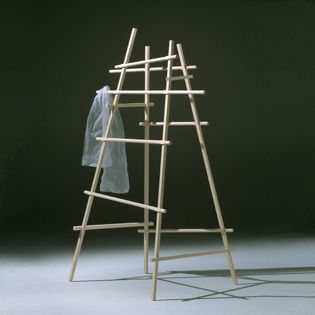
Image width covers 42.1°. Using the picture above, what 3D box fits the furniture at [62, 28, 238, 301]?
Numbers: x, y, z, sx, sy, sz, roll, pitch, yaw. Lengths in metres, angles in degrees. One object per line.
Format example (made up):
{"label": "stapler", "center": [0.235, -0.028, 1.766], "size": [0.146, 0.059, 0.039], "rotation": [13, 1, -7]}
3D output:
{"label": "furniture", "center": [-0.031, -0.018, 2.902], "size": [0.984, 0.835, 1.649], "rotation": [6, -81, 43]}
